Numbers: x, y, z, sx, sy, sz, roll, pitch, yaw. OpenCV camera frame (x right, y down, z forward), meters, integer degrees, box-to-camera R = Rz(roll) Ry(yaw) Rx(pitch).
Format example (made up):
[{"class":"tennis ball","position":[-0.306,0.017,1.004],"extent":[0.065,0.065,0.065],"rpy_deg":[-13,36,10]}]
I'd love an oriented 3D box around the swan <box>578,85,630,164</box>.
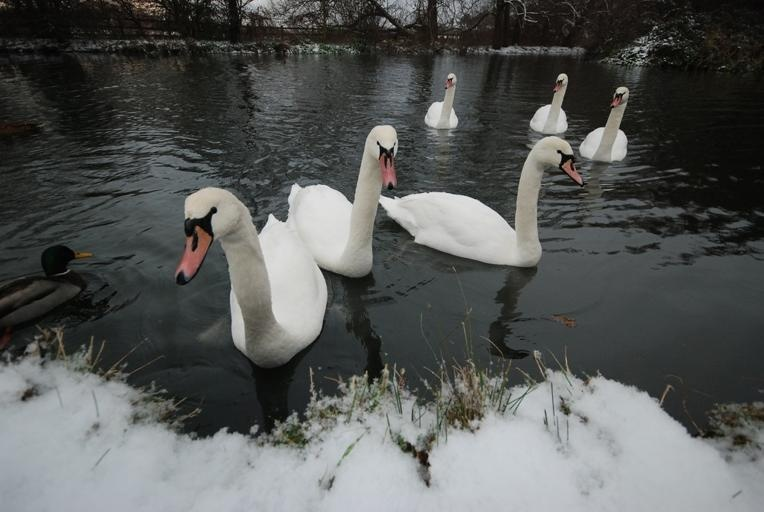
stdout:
[{"class":"swan","position":[6.394,-3.155,13.195],"extent":[1.167,2.145,2.165],"rpy_deg":[0,1,0]}]
